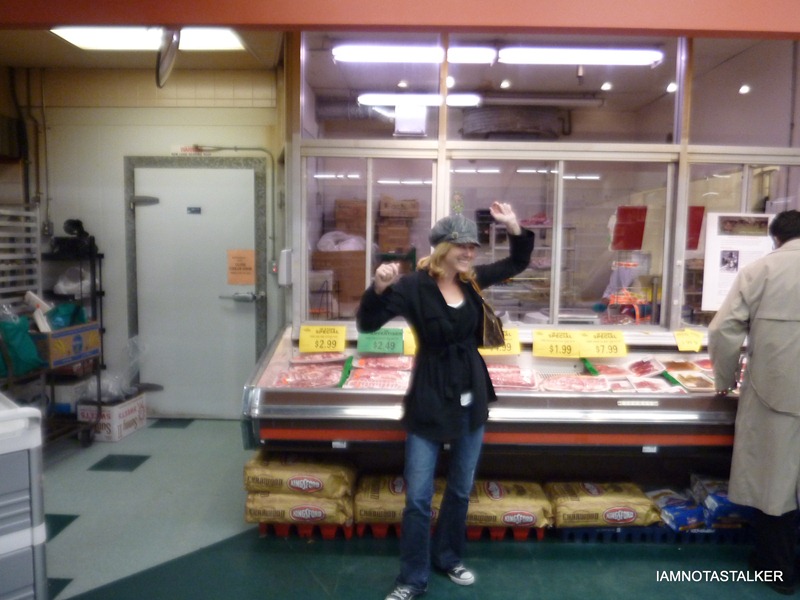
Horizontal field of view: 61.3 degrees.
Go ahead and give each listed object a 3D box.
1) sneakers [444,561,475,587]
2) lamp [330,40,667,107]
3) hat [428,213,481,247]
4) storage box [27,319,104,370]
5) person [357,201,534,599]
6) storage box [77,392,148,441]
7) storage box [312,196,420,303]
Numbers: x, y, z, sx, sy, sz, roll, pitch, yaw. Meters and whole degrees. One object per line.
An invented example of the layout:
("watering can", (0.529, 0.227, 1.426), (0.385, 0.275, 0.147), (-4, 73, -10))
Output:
("sneakers", (0.349, 1.583, 3.895), (0.080, 0.071, 0.181), (3, -7, -29))
("lamp", (0.525, -1.472, 4.399), (1.916, 0.417, 1.134), (-1, 16, -6))
("hat", (0.302, -0.374, 3.671), (0.167, 0.103, 0.212), (0, 0, -39))
("storage box", (-2.562, 0.364, 5.167), (0.178, 0.376, 0.568), (4, 16, 13))
("person", (0.279, 0.557, 3.769), (0.951, 2.110, 0.491), (-7, 17, -25))
("storage box", (-2.434, 0.988, 5.762), (0.300, 0.262, 0.541), (1, 4, 7))
("storage box", (-0.229, -0.349, 5.084), (0.708, 0.724, 0.687), (2, 2, 4))
